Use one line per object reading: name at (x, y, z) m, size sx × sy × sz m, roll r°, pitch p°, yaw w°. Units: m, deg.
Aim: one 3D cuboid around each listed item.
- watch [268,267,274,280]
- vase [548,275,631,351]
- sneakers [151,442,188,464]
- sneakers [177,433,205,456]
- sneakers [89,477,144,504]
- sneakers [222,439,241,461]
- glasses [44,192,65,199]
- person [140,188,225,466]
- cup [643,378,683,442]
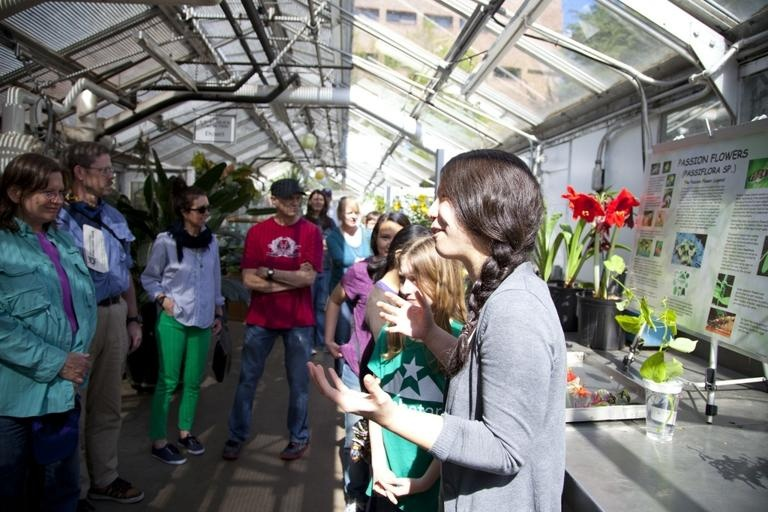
watch at (-1.020, 0.166, 4.010) m, size 0.056 × 0.091 × 0.080 m, roll 6°, pitch -15°, yaw -10°
vase at (2.114, 0.566, 4.760) m, size 0.639 × 0.640 × 0.852 m, roll 1°, pitch 0°, yaw 8°
sneakers at (-1.860, 1.711, 3.879) m, size 0.279 × 0.121 × 0.143 m, roll 15°, pitch 3°, yaw 11°
sneakers at (-1.736, 1.683, 4.032) m, size 0.309 × 0.125 × 0.126 m, roll -7°, pitch -9°, yaw 44°
sneakers at (-2.018, 1.793, 3.493) m, size 0.432 × 0.186 × 0.167 m, roll 3°, pitch -4°, yaw -6°
sneakers at (-1.349, 1.709, 3.995) m, size 0.182 × 0.135 × 0.160 m, roll -3°, pitch 12°, yaw -30°
glasses at (-2.113, -0.384, 2.874) m, size 0.056 × 0.031 × 0.075 m, roll 1°, pitch -13°, yaw -15°
person at (-1.730, 0.588, 3.921) m, size 0.639 × 2.316 × 0.537 m, roll -3°, pitch 12°, yaw -30°
cup at (1.702, 0.941, 2.773) m, size 0.207 × 0.362 × 0.144 m, roll 8°, pitch 12°, yaw 22°
